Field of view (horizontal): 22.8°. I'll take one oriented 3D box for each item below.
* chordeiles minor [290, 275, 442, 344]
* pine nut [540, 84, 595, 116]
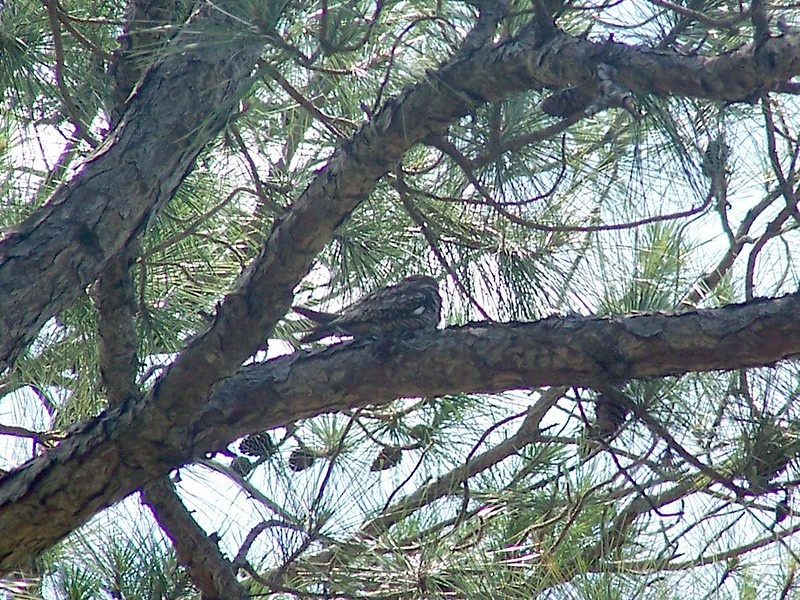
[{"bbox_3d":[-0.101,0.045,7.594,0.512,0.337,0.327,-1,-82,0],"label":"chordeiles minor"},{"bbox_3d":[0.622,-0.736,7.425,0.148,0.102,0.039,-25,-81,-8],"label":"pine nut"}]
